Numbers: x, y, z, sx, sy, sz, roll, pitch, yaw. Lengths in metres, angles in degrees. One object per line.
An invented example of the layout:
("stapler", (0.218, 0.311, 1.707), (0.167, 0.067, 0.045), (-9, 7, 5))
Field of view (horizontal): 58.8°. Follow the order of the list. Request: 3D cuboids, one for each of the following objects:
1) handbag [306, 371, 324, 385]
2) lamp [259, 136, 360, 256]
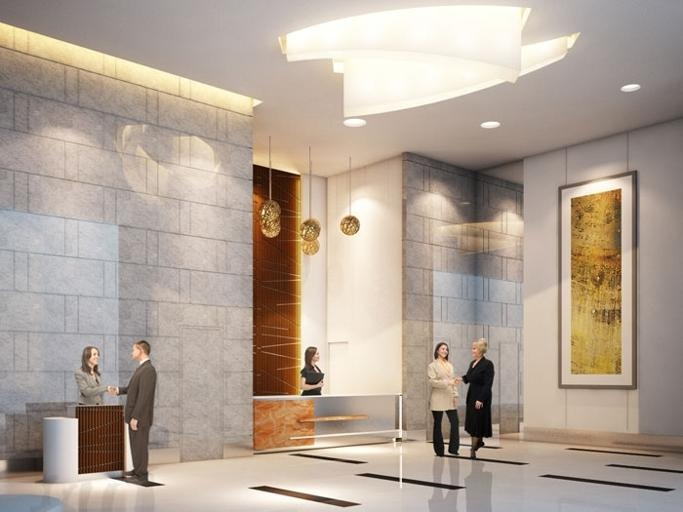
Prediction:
("handbag", (-0.522, 2.357, 11.603), (0.366, 0.228, 0.122), (8, -14, -38))
("lamp", (-0.742, -1.339, 13.420), (2.145, 2.161, 0.487), (7, -11, -43))
